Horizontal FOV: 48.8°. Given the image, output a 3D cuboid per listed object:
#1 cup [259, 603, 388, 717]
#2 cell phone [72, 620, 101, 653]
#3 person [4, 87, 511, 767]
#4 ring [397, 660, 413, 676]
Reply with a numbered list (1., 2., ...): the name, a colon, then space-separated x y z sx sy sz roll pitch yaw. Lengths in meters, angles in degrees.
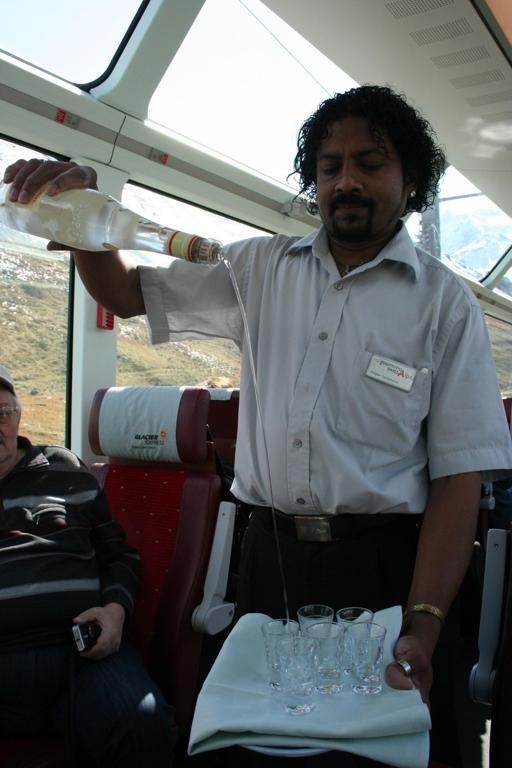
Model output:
1. cup: 0.090 0.362 0.742 0.135 0.066 0.103 -2 3 -4
2. cell phone: -0.467 0.722 1.615 0.035 0.066 0.096 -3 -4 12
3. person: 0.099 0.115 1.122 0.742 1.305 0.636 -5 1 21
4. ring: 0.184 0.355 0.701 0.015 0.020 0.024 -5 1 26
